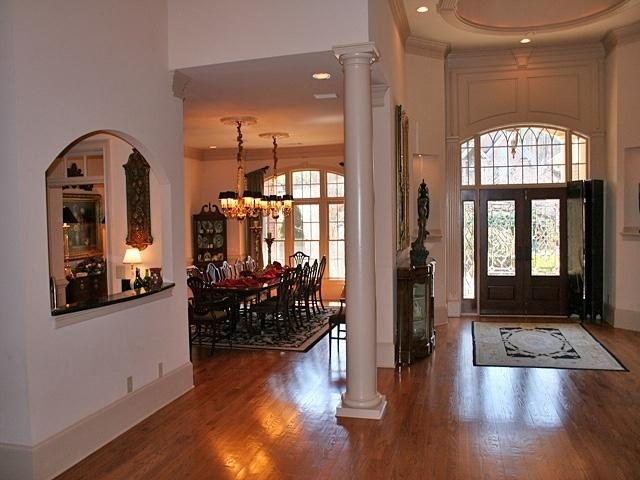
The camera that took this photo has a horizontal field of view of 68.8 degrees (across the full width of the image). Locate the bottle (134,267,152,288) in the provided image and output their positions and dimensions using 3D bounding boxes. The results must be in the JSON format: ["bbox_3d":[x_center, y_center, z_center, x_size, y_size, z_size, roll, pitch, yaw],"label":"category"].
[{"bbox_3d":[-1.953,0.428,5.205,0.197,0.266,0.141,1,-3,-40],"label":"bottle"}]

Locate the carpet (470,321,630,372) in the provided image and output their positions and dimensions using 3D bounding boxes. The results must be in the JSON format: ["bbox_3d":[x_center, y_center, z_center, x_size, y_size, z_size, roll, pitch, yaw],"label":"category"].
[{"bbox_3d":[3.234,1.572,7.074,1.931,0.027,2.446,0,5,14],"label":"carpet"}]

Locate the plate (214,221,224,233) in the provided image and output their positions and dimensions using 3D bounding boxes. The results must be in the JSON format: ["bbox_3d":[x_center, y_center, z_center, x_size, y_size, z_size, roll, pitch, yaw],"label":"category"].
[{"bbox_3d":[-2.499,-0.312,11.694,0.238,0.264,0.057,11,6,4],"label":"plate"}]

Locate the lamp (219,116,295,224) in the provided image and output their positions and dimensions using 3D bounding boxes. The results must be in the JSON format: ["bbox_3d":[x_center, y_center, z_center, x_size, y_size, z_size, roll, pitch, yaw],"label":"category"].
[{"bbox_3d":[-1.312,-1.563,10.276,1.066,2.498,1.786,0,3,23],"label":"lamp"}]

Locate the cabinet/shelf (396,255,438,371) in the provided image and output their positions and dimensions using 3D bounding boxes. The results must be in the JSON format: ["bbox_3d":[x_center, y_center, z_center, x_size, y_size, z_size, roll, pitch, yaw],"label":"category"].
[{"bbox_3d":[1.304,1.035,6.402,0.457,1.299,1.348,0,3,14],"label":"cabinet/shelf"}]

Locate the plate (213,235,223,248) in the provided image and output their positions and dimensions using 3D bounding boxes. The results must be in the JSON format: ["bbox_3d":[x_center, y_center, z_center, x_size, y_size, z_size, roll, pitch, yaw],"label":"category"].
[{"bbox_3d":[-2.536,0.049,11.733,0.287,0.319,0.079,5,-2,3],"label":"plate"}]

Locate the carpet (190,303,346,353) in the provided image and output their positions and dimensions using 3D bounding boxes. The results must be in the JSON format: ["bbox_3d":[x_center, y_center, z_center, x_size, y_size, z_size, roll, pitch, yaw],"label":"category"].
[{"bbox_3d":[-0.898,1.522,7.950,2.415,0.275,2.218,-2,5,-13],"label":"carpet"}]
